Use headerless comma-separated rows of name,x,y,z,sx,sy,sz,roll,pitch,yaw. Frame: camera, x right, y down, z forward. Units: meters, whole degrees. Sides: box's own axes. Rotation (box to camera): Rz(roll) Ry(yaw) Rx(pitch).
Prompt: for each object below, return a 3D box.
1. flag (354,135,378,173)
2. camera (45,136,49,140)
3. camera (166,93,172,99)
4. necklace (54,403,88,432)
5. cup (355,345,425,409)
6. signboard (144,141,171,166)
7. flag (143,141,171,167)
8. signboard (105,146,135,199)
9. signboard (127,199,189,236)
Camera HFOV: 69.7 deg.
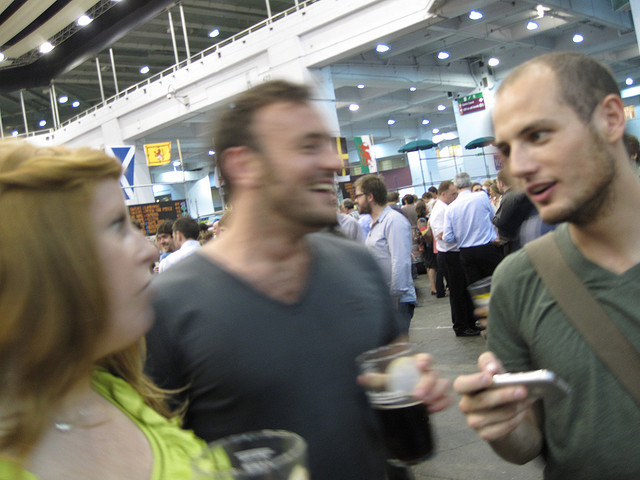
flag,1.549,-2.884,15.724,0.692,1.325,0.032,1,26,36
camera,-12.603,-4.649,21.203,0.155,0.114,0.261,-13,9,-33
camera,-5.125,-4.829,15.558,0.171,0.158,0.175,2,4,36
necklace,-0.585,0.416,1.078,0.019,0.019,0.066,-18,5,25
cup,0.198,0.380,1.368,0.188,0.129,0.179,-12,-9,-2
signboard,-5.796,-3.035,16.296,1.230,0.988,0.163,-7,-6,12
flag,-5.833,-3.042,16.356,1.296,1.025,0.166,-3,5,5
signboard,-5.206,-1.761,12.106,0.884,1.466,0.149,0,1,13
signboard,-4.445,-0.534,12.376,1.831,0.940,0.095,-3,-4,16
